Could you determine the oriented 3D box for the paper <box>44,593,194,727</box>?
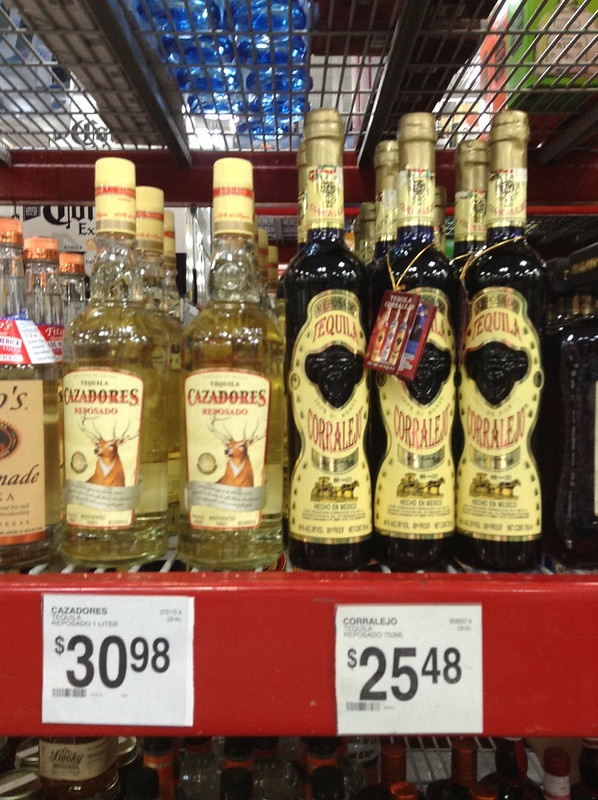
[{"bbox_3d":[-0.139,0.218,0.598,0.144,0.111,0.077,-3,-11,10],"label":"paper"}]

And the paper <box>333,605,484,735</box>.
[{"bbox_3d":[0.090,0.223,0.563,0.110,0.086,0.034,0,-7,0],"label":"paper"}]

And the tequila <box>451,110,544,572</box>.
[{"bbox_3d":[0.197,-0.060,0.709,0.113,0.445,0.092,1,3,1],"label":"tequila"}]
